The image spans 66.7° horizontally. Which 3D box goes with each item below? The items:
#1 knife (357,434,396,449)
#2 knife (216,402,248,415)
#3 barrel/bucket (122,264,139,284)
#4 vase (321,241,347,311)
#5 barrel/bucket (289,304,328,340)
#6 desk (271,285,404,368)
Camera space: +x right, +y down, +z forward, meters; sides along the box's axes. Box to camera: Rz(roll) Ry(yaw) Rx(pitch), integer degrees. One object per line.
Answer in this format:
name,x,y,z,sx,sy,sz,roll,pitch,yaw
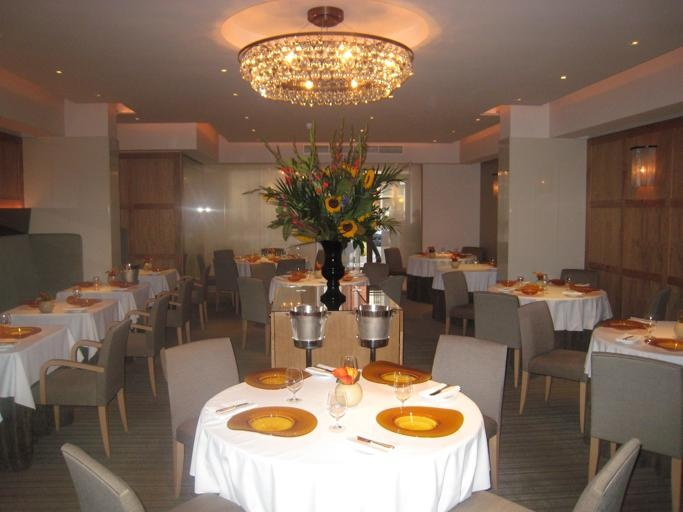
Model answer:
knife,0.191,1.032,2.878,0.230,0.030,0.070,6,26,28
knife,-0.676,0.926,3.210,0.261,0.032,0.058,-4,16,-33
barrel/bucket,-2.900,0.245,7.256,0.234,0.271,0.264,1,-4,-17
vase,-0.066,0.159,4.096,0.186,0.574,0.489,-1,2,-3
barrel/bucket,-0.236,0.478,3.760,0.255,0.192,0.222,-3,7,-15
desk,-0.152,0.637,4.616,0.713,0.713,0.718,-1,1,-3
